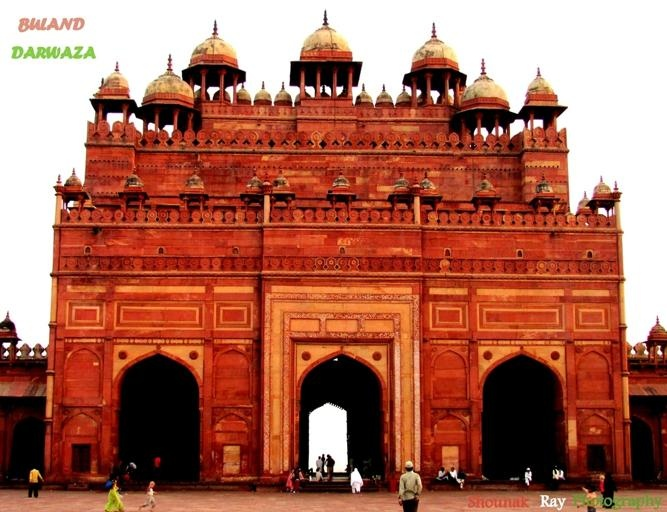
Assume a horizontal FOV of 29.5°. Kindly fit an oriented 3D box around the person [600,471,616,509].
[{"bbox_3d":[7.239,6.091,33.001,0.339,0.990,1.542,-3,-15,11],"label":"person"}]
